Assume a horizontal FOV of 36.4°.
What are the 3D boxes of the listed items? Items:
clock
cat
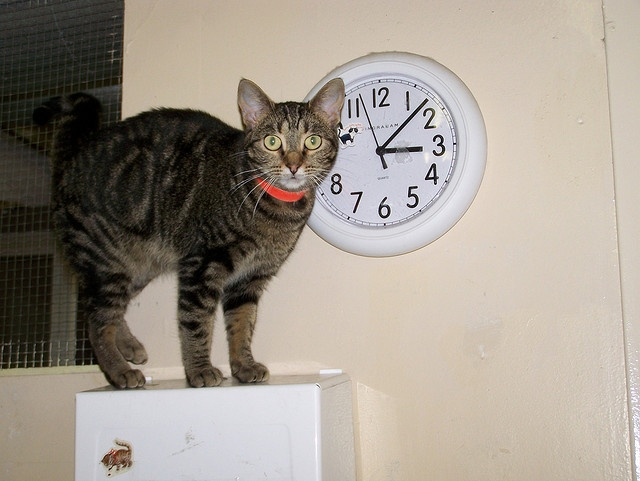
[{"bbox_3d":[0.212,-0.293,3.265,0.598,0.654,0.641,-1,-9,-9],"label":"clock"},{"bbox_3d":[-0.476,-0.058,3.284,1.059,0.966,0.387,2,3,19],"label":"cat"}]
